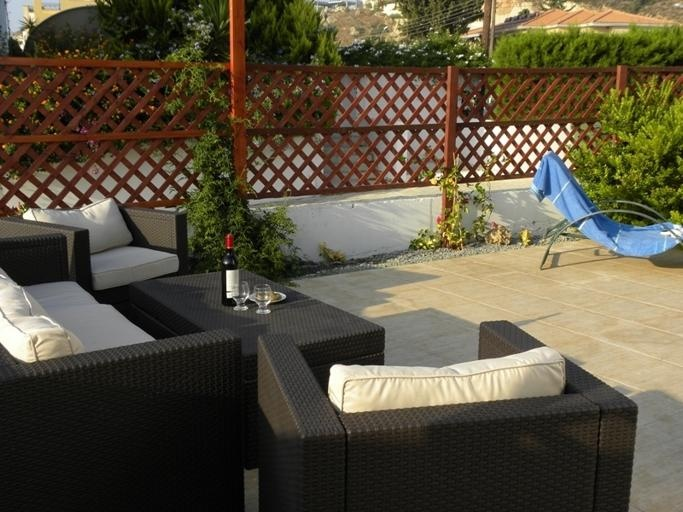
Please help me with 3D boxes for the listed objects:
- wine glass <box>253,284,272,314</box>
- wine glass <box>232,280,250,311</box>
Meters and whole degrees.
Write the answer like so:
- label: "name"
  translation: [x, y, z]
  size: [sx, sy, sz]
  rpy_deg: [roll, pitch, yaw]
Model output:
- label: "wine glass"
  translation: [-0.431, 0.234, 3.739]
  size: [0.129, 0.207, 0.133]
  rpy_deg: [-1, 4, -9]
- label: "wine glass"
  translation: [-0.549, 0.224, 3.791]
  size: [0.123, 0.206, 0.133]
  rpy_deg: [0, 4, -8]
